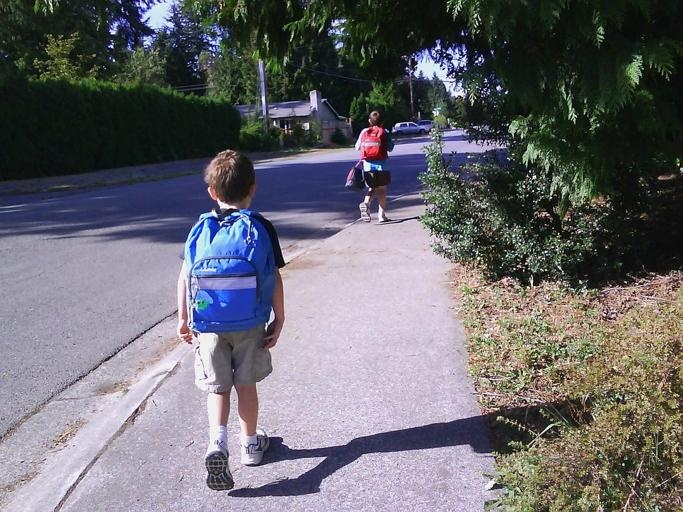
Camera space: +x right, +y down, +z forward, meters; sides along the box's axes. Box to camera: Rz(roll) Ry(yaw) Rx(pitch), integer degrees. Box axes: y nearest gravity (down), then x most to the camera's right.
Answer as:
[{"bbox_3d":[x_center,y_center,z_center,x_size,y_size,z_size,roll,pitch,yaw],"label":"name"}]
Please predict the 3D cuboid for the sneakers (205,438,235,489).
[{"bbox_3d":[-0.655,1.119,2.891,0.112,0.280,0.122,1,18,-2],"label":"sneakers"}]

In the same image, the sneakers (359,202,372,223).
[{"bbox_3d":[0.439,-0.809,10.246,0.149,0.461,0.185,4,35,19],"label":"sneakers"}]

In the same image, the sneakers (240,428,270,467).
[{"bbox_3d":[-0.506,1.132,3.155,0.081,0.122,0.248,2,20,7],"label":"sneakers"}]

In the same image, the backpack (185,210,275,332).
[{"bbox_3d":[-0.594,0.085,2.866,0.497,0.767,0.399,0,14,-1],"label":"backpack"}]
